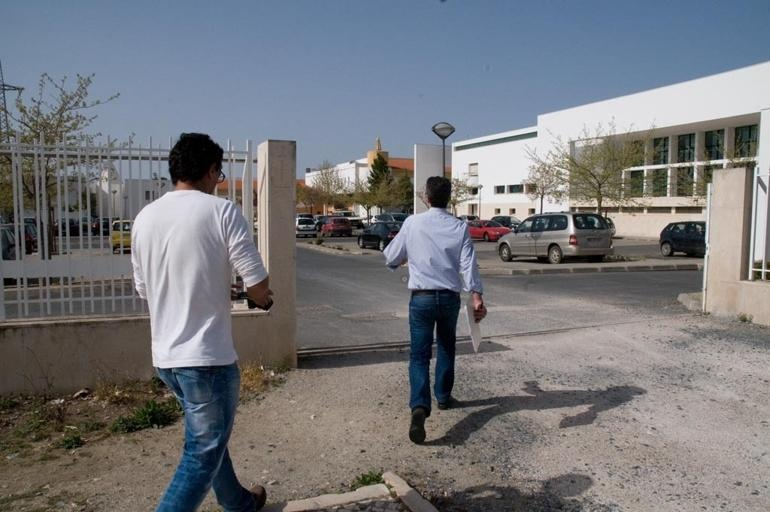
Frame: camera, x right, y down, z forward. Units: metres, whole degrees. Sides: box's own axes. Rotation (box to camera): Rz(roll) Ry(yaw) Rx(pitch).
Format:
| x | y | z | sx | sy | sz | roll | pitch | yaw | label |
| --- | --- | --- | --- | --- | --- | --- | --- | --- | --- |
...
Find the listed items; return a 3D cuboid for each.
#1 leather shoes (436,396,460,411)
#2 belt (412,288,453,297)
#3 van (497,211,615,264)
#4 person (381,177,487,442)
| x | y | z | sx | sy | sz | roll | pitch | yaw | label |
| --- | --- | --- | --- | --- | --- | --- | --- | --- | --- |
| 0.728 | 1.635 | 6.379 | 0.305 | 0.141 | 0.109 | -6 | 11 | -42 | leather shoes |
| 0.506 | 0.371 | 5.878 | 0.443 | 0.101 | 0.107 | 1 | 14 | 7 | belt |
| 6.078 | -0.643 | 20.845 | 1.969 | 1.546 | 3.413 | -1 | 7 | -28 | van |
| 0.547 | 0.489 | 5.936 | 0.923 | 2.567 | 1.026 | -7 | 15 | -23 | person |
